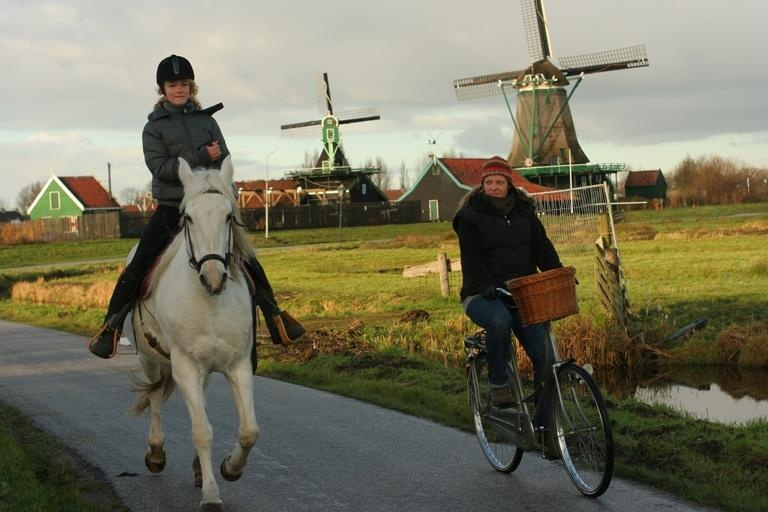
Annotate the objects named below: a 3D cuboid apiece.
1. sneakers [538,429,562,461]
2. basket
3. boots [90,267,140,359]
[{"bbox_3d":[2.063,2.356,9.359,0.198,0.373,0.276,-7,13,4],"label":"sneakers"},{"bbox_3d":[1.976,0.495,9.345,0.668,0.482,0.756,-17,-1,6],"label":"basket"},{"bbox_3d":[-3.841,0.993,10.433,0.353,0.418,1.440,34,22,-20],"label":"boots"}]
